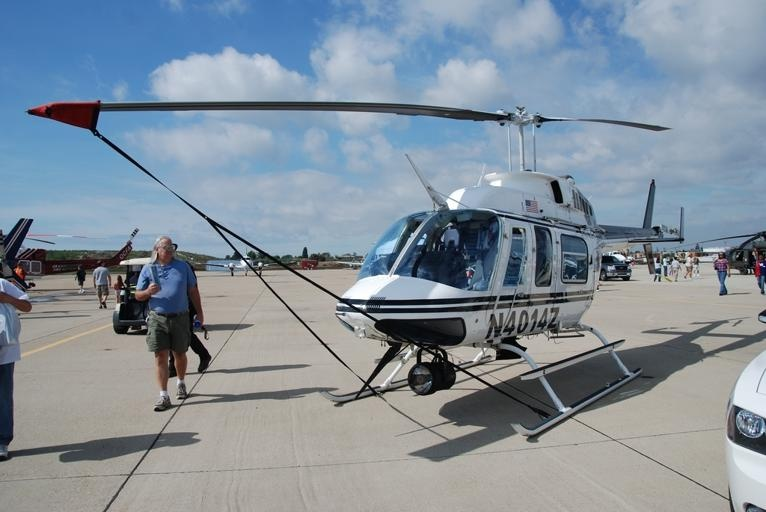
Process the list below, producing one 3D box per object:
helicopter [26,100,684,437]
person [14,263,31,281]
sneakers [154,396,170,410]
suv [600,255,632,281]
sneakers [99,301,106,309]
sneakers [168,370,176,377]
[{"bbox_3d":[0.645,0.047,6.205,4.997,2.230,6.385,-2,-4,44],"label":"helicopter"},{"bbox_3d":[-16.403,0.698,21.578,0.657,0.845,0.393,5,29,36],"label":"person"},{"bbox_3d":[-2.952,1.963,6.331,0.127,0.136,0.301,-2,-10,-2],"label":"sneakers"},{"bbox_3d":[13.468,0.760,27.573,1.503,1.168,3.013,0,-6,-5],"label":"suv"},{"bbox_3d":[-9.876,1.764,16.750,0.199,0.199,0.548,-2,-10,-27],"label":"sneakers"},{"bbox_3d":[-3.444,1.913,7.748,0.146,0.078,0.130,0,-8,-5],"label":"sneakers"}]
